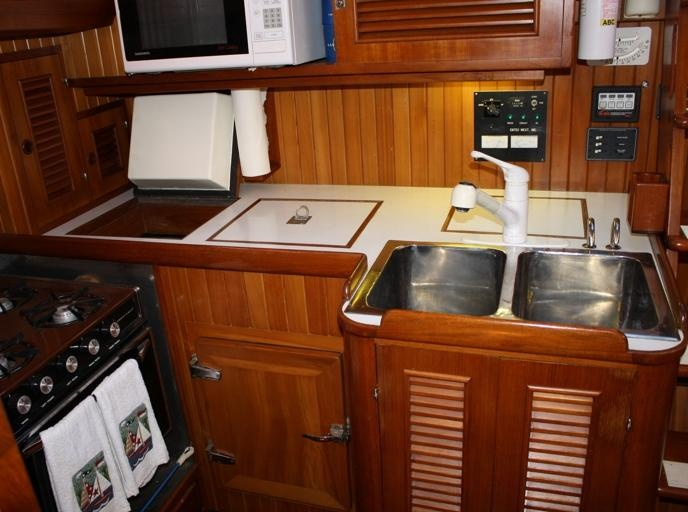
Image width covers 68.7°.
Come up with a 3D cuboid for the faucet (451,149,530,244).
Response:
[{"bbox_3d":[0.465,-0.174,1.597,0.324,0.291,0.089,-6,12,-30],"label":"faucet"}]

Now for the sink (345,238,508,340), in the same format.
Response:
[{"bbox_3d":[0.265,0.082,1.575,0.325,0.198,0.323,5,36,16],"label":"sink"}]

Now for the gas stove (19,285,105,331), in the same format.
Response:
[{"bbox_3d":[-0.926,0.185,1.660,0.269,0.062,0.258,-2,21,20],"label":"gas stove"}]

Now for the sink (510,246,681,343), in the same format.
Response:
[{"bbox_3d":[0.752,0.103,1.564,0.346,0.124,0.279,6,58,25],"label":"sink"}]
